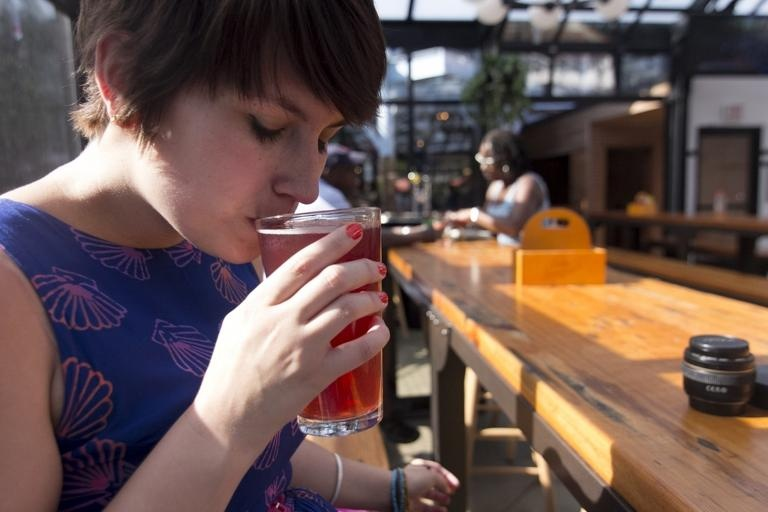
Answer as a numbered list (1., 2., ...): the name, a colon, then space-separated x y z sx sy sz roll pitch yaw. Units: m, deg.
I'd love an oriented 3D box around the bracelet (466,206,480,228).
1. bracelet: 0.687 -0.301 4.612 0.096 0.153 0.151 -1 2 4
